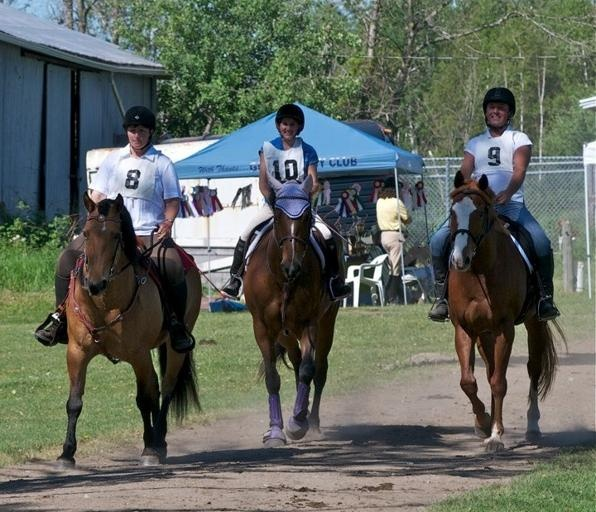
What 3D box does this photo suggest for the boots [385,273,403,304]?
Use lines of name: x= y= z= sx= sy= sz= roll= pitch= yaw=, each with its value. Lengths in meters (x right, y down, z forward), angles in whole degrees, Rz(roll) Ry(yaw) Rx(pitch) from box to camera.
boots: x=2.190 y=0.797 z=27.489 sx=0.223 sy=0.940 sz=0.578 roll=-1 pitch=4 yaw=13

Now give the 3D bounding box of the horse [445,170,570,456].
horse: x=2.653 y=0.648 z=16.023 sx=1.094 sy=3.521 sz=1.843 roll=5 pitch=9 yaw=39

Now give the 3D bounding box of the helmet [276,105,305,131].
helmet: x=-0.088 y=-1.945 z=16.722 sx=0.267 sy=0.226 sz=0.414 roll=5 pitch=-22 yaw=0

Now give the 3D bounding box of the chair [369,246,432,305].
chair: x=2.271 y=0.514 z=27.555 sx=1.167 sy=1.562 sz=1.061 roll=-1 pitch=1 yaw=14

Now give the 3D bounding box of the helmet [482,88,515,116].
helmet: x=2.740 y=-2.091 z=16.554 sx=0.317 sy=0.366 sz=0.440 roll=4 pitch=6 yaw=12

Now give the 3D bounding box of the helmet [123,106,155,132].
helmet: x=-2.073 y=-1.786 z=15.873 sx=0.404 sy=0.314 sz=0.284 roll=-1 pitch=7 yaw=-10

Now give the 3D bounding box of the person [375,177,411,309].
person: x=2.109 y=-0.173 z=26.980 sx=0.707 sy=2.651 sz=1.088 roll=0 pitch=7 yaw=1

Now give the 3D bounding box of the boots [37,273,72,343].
boots: x=-3.119 y=0.730 z=15.931 sx=0.469 sy=0.875 sz=0.230 roll=-2 pitch=-16 yaw=31

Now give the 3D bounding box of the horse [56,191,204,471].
horse: x=-2.183 y=0.919 z=15.246 sx=1.748 sy=3.356 sz=0.926 roll=-6 pitch=9 yaw=-39
